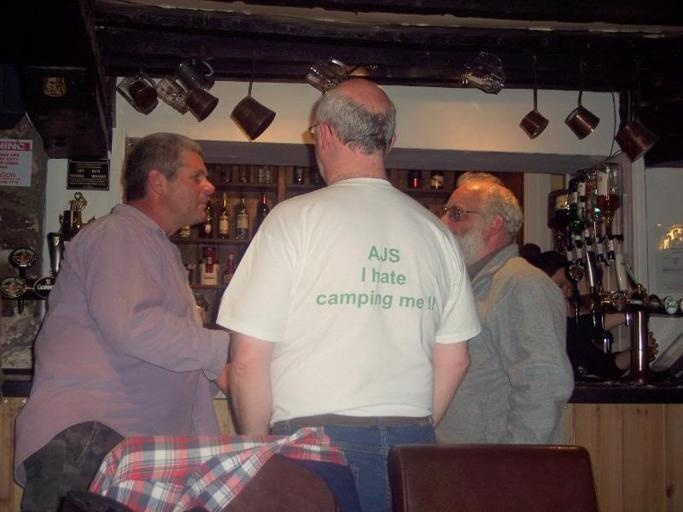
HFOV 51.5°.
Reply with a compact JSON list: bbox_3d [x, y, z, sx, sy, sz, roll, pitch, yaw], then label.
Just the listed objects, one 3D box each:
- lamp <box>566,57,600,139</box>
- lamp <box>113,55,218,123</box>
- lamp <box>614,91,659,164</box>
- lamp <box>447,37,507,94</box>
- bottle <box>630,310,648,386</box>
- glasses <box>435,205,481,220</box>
[{"bbox_3d":[1.431,-0.924,4.195,0.174,0.455,0.197,-6,24,-4],"label":"lamp"},{"bbox_3d":[-0.975,-0.942,3.977,0.534,0.316,0.268,-1,-2,-13],"label":"lamp"},{"bbox_3d":[1.781,-0.793,4.293,0.222,0.466,0.461,-2,-2,22],"label":"lamp"},{"bbox_3d":[0.763,-1.016,3.910,0.236,0.227,0.228,16,-27,13],"label":"lamp"},{"bbox_3d":[1.558,0.470,3.708,0.090,0.367,0.213,-2,-2,22],"label":"bottle"},{"bbox_3d":[0.538,-0.190,3.190,0.210,0.063,0.202,7,-1,-24],"label":"glasses"}]
